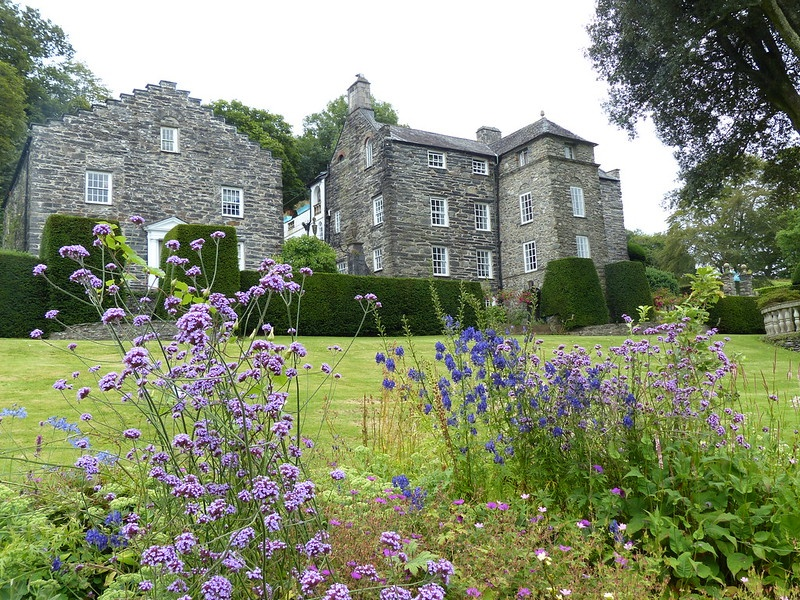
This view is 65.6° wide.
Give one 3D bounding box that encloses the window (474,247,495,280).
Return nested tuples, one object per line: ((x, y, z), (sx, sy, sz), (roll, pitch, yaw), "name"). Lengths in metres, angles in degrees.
((3.595, -1.508, 26.550), (1.493, 1.537, 0.172), (4, -10, -32), "window")

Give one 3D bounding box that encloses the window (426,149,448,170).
((1.483, -5.782, 25.621), (1.059, 0.665, 0.136), (0, -5, -38), "window")
